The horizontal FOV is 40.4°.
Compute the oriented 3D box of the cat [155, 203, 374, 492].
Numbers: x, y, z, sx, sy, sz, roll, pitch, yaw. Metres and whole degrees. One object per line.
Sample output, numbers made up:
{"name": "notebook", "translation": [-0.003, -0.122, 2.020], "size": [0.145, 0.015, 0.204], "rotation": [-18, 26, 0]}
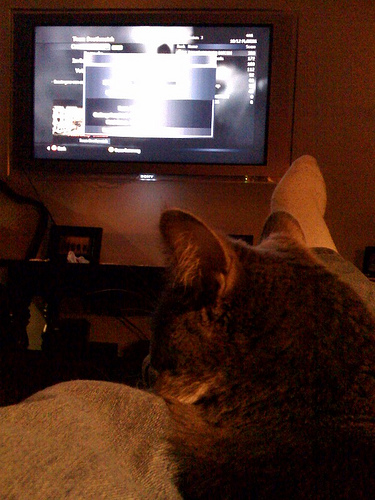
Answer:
{"name": "cat", "translation": [0.045, 0.058, 0.389], "size": [0.108, 0.218, 0.126], "rotation": [-1, -22, -3]}
